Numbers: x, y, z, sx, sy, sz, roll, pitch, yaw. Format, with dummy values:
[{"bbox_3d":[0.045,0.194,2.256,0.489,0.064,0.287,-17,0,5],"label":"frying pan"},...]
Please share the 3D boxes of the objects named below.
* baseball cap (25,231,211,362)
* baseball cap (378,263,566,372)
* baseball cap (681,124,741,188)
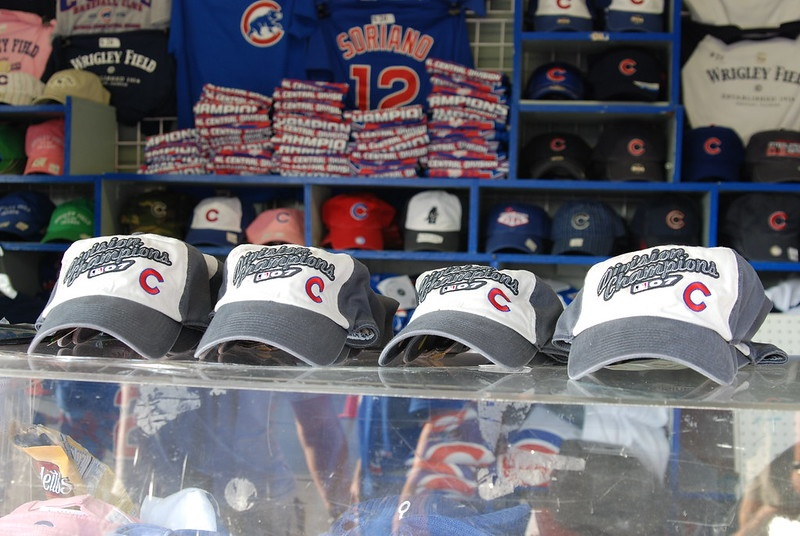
[{"bbox_3d":[-0.651,0.059,2.066,0.258,0.171,0.388,2,2,5],"label":"baseball cap"},{"bbox_3d":[0.193,0.103,2.130,0.231,0.146,0.377,-4,-1,24],"label":"baseball cap"},{"bbox_3d":[1.218,-0.428,3.441,0.241,0.236,0.123,2,-35,0],"label":"baseball cap"}]
